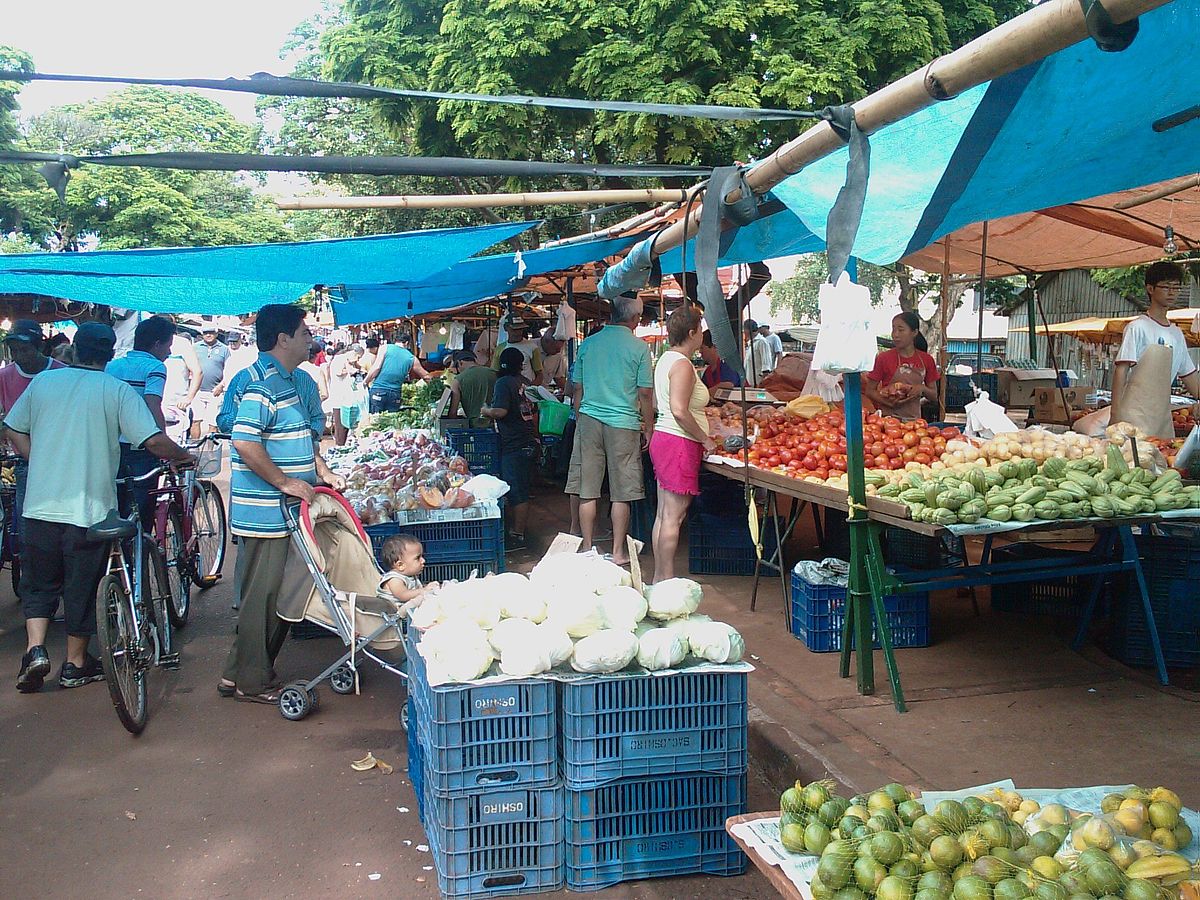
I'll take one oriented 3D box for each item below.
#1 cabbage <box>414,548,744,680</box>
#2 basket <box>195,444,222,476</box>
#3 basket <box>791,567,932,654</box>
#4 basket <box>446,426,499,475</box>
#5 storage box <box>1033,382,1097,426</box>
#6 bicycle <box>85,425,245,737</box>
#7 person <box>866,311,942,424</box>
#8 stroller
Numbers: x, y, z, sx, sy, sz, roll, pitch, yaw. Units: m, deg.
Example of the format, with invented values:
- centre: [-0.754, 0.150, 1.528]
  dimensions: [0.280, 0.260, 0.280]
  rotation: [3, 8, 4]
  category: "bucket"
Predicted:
- centre: [-0.137, 0.802, 4.615]
  dimensions: [0.960, 0.286, 0.711]
  rotation: [-1, 5, -9]
  category: "cabbage"
- centre: [-3.556, 0.072, 9.000]
  dimensions: [0.230, 0.237, 0.238]
  rotation: [4, 17, 0]
  category: "basket"
- centre: [1.850, 1.154, 7.528]
  dimensions: [1.095, 0.541, 0.845]
  rotation: [0, 8, -10]
  category: "basket"
- centre: [-1.400, -0.017, 10.943]
  dimensions: [0.508, 0.473, 0.497]
  rotation: [1, 0, -2]
  category: "basket"
- centre: [5.562, -0.547, 12.007]
  dimensions: [0.664, 0.429, 0.353]
  rotation: [-3, 4, -27]
  category: "storage box"
- centre: [-3.158, 0.911, 7.221]
  dimensions: [1.099, 1.950, 1.013]
  rotation: [6, 8, -39]
  category: "bicycle"
- centre: [2.945, -0.612, 9.787]
  dimensions: [0.598, 1.358, 0.810]
  rotation: [14, 21, 43]
  category: "person"
- centre: [-1.482, 1.046, 6.212]
  dimensions: [0.986, 1.479, 0.985]
  rotation: [4, 11, -20]
  category: "stroller"
